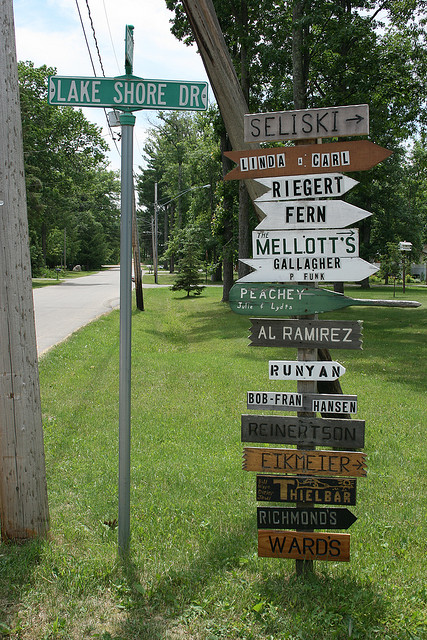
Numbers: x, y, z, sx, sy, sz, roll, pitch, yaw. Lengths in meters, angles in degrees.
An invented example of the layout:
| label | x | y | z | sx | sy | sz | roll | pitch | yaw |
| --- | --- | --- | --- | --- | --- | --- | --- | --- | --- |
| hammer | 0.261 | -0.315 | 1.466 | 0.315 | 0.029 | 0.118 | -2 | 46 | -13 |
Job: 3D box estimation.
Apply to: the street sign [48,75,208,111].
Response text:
| label | x | y | z | sx | sy | sz | roll | pitch | yaw |
| --- | --- | --- | --- | --- | --- | --- | --- | --- | --- |
| street sign | -0.582 | -1.516 | 4.189 | 1.086 | 0.242 | 0.264 | 2 | 1 | -6 |

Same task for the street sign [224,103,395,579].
| label | x | y | z | sx | sy | sz | roll | pitch | yaw |
| --- | --- | --- | --- | --- | --- | --- | --- | --- | --- |
| street sign | 0.609 | 0.144 | 4.140 | 0.965 | 2.403 | 0.436 | 2 | 1 | 23 |

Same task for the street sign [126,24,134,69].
| label | x | y | z | sx | sy | sz | roll | pitch | yaw |
| --- | --- | --- | --- | --- | --- | --- | --- | --- | --- |
| street sign | -0.548 | -1.803 | 4.055 | 0.044 | 0.311 | 0.203 | 2 | 1 | -10 |
